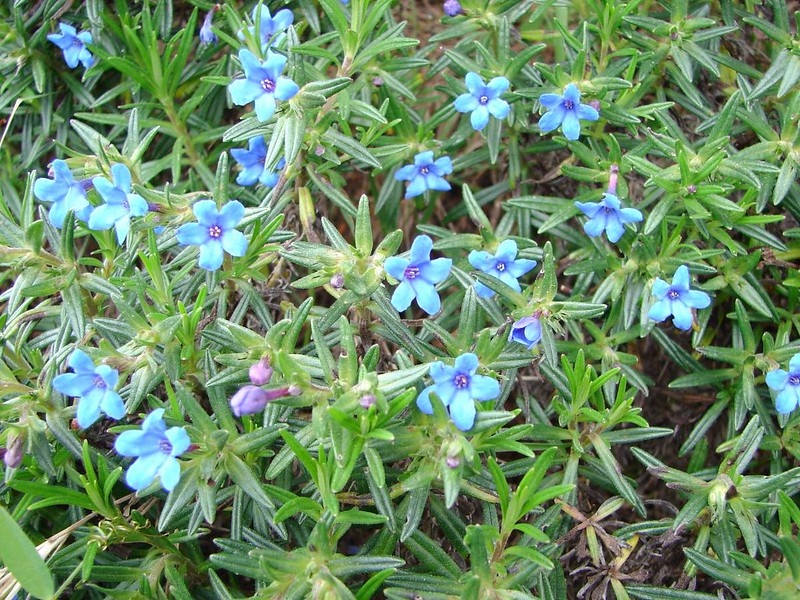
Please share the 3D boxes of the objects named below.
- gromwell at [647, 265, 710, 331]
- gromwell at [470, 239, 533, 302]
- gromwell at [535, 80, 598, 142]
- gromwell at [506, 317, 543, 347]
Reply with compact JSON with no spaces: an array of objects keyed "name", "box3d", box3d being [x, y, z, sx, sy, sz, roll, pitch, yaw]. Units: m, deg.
[{"name":"gromwell","box3d":[1.360,-0.002,3.809,0.312,0.325,0.099,18,15,6]},{"name":"gromwell","box3d":[0.515,-0.166,3.873,0.276,0.295,0.089,9,11,-4]},{"name":"gromwell","box3d":[0.884,-1.000,4.144,0.270,0.326,0.123,-7,28,18]},{"name":"gromwell","box3d":[0.617,0.160,3.837,0.127,0.166,0.150,-30,17,13]}]
